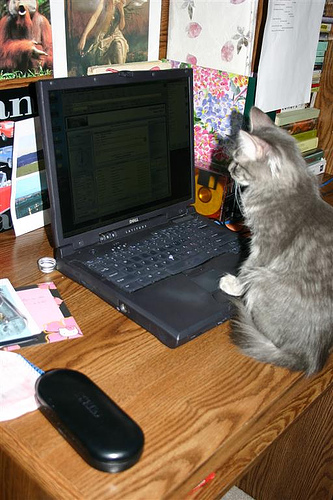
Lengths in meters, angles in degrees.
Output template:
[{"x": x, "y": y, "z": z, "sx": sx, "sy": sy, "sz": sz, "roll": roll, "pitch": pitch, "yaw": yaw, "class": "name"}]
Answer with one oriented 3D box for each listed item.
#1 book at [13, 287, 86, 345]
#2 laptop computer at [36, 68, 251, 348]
[{"x": -0.165, "y": 0.081, "z": 0.507, "sx": 0.060, "sy": 0.127, "sz": 0.001, "roll": -22, "pitch": 43, "yaw": -13, "class": "book"}, {"x": 0.017, "y": -0.105, "z": 0.612, "sx": 0.386, "sy": 0.312, "sz": 0.351, "roll": -12, "pitch": 34, "yaw": -27, "class": "laptop computer"}]
